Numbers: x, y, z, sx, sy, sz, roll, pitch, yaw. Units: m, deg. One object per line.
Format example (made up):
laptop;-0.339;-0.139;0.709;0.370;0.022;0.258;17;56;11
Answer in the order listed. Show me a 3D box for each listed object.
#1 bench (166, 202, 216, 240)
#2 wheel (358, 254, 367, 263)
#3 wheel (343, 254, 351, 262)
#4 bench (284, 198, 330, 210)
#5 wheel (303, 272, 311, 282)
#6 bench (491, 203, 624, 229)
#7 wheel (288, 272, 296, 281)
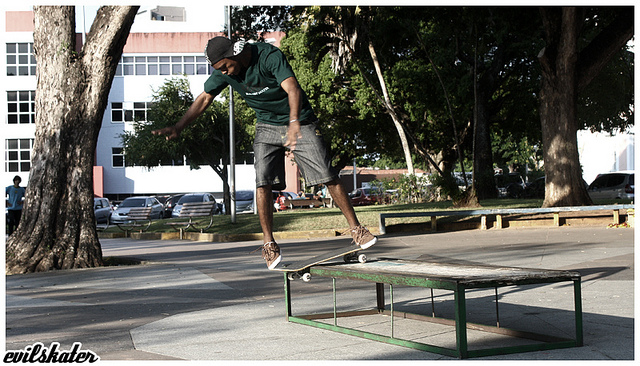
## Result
bench;-5.049;1.456;26.580;1.411;1.393;2.389;-4;1;-11
wheel;0.770;1.365;12.102;0.148;0.135;0.258;-3;1;9
wheel;0.488;1.372;12.098;0.125;0.114;0.119;-3;-25;-1
bench;-0.826;1.116;37.954;1.736;0.508;4.342;-3;0;-17
wheel;-0.252;1.691;12.055;0.112;0.150;0.205;-3;1;3
bench;7.923;1.219;22.303;4.376;0.661;0.537;-5;-17;22
wheel;-0.524;1.684;12.056;0.132;0.141;0.093;-4;1;-39
